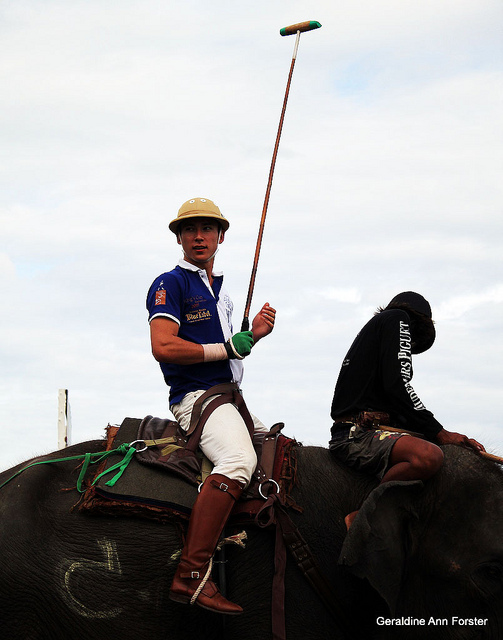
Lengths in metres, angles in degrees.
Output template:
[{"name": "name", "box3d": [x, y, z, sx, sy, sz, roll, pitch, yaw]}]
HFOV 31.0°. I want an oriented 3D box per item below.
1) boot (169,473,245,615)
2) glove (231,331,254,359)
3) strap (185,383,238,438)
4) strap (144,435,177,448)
[{"name": "boot", "box3d": [-0.315, 1.463, 6.050, 0.625, 0.789, 0.557, 3, -2, -27]}, {"name": "glove", "box3d": [-0.065, 0.173, 6.680, 0.167, 0.206, 0.312, 3, -5, -1]}, {"name": "strap", "box3d": [-0.278, 0.623, 6.605, 0.479, 0.348, 0.299, -7, 10, -14]}, {"name": "strap", "box3d": [-0.653, 0.875, 6.547, 0.274, 0.064, 0.048, -2, -46, -17]}]
